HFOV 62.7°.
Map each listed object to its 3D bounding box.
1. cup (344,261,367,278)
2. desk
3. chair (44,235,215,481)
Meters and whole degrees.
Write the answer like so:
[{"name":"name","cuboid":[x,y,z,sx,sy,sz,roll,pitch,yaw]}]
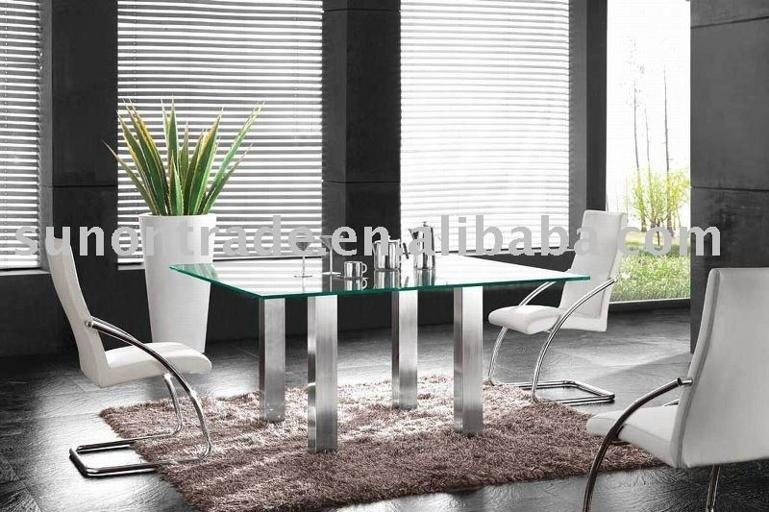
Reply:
[{"name":"cup","cuboid":[-0.187,0.088,4.011,0.083,0.094,0.136,-2,-2,36]},{"name":"desk","cuboid":[-0.238,0.440,4.210,1.589,0.826,1.631,0,0,-27]},{"name":"chair","cuboid":[-1.480,0.574,4.339,1.299,1.997,0.993,-1,3,-23]}]
